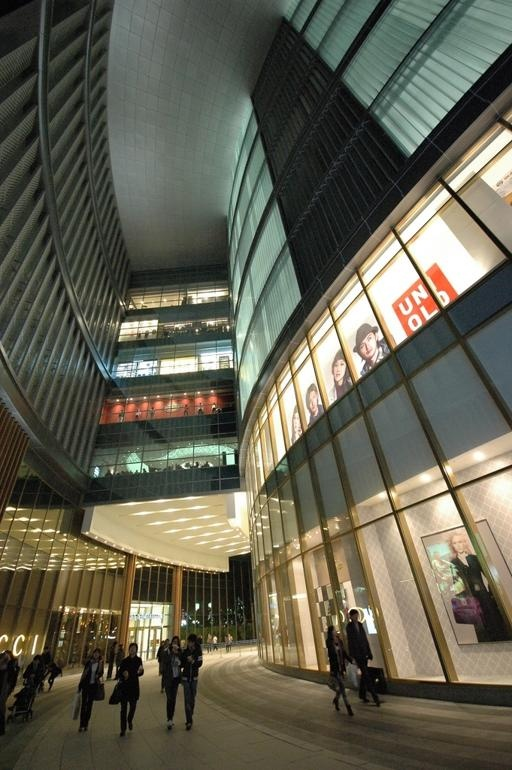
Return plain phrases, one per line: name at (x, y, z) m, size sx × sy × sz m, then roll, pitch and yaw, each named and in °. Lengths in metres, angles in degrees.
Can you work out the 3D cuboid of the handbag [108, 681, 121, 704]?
handbag at (-2.162, 4.753, 5.593) m, size 0.155 × 0.271 × 0.591 m, roll 2°, pitch -32°, yaw -20°
